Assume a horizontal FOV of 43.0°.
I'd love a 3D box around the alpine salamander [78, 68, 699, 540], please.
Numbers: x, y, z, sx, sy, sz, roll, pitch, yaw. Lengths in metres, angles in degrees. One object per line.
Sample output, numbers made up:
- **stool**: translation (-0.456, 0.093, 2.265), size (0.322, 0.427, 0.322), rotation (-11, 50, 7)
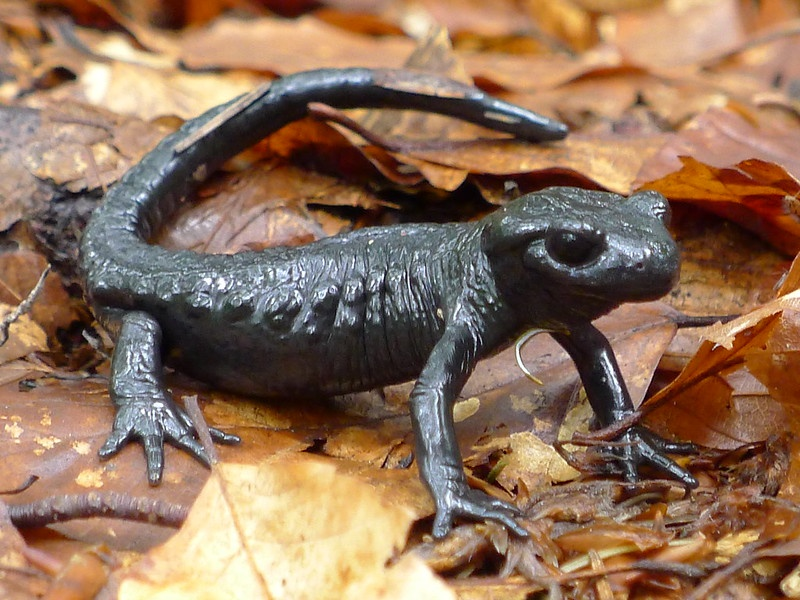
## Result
- **alpine salamander**: translation (-0.141, -0.073, 3.103), size (1.838, 0.795, 1.580), rotation (22, 48, 12)
